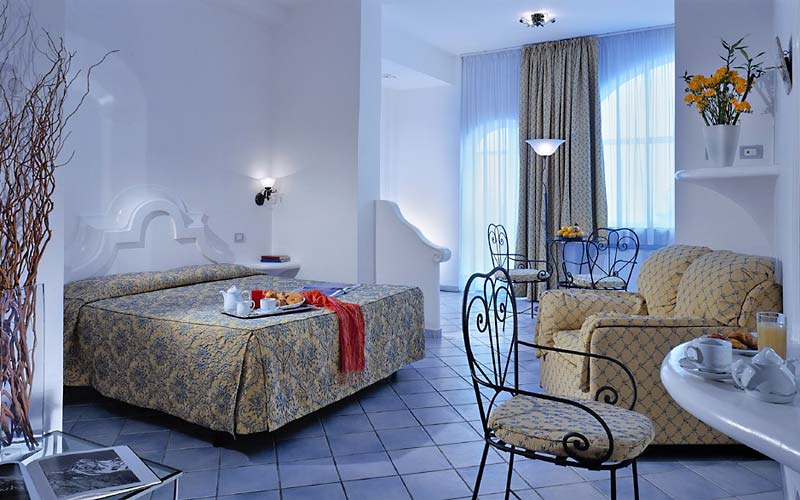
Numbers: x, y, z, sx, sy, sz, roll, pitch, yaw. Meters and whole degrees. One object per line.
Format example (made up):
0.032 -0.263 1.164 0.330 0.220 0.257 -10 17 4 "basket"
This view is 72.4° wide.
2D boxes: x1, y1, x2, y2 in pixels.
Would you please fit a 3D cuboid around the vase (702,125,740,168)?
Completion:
2.324 -0.714 3.817 0.217 0.240 0.217 -5 -11 -32 "vase"

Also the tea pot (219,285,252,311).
-1.122 0.346 3.882 0.269 0.242 0.190 4 -4 -33 "tea pot"

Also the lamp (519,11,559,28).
1.620 -2.692 6.402 0.410 0.103 0.485 10 15 42 "lamp"

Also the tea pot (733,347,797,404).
1.379 0.468 2.049 0.224 0.160 0.160 -4 6 5 "tea pot"

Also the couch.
1.636 0.472 3.800 1.215 1.270 1.492 1 -2 2 "couch"

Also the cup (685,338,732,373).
1.270 0.435 2.256 0.158 0.113 0.119 -2 3 12 "cup"

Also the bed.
-1.324 0.367 3.830 1.498 0.882 1.545 2 5 31 "bed"

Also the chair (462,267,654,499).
0.912 0.606 3.876 0.907 1.432 2.948 1 11 7 "chair"

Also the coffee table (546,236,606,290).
2.198 0.214 6.859 0.671 0.742 0.663 -4 9 -13 "coffee table"

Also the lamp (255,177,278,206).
-1.424 -0.609 5.752 0.203 0.289 0.119 6 4 -7 "lamp"

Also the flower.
2.426 -1.263 4.047 0.539 0.688 0.898 7 14 34 "flower"

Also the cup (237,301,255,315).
-1.046 0.390 3.653 0.102 0.087 0.100 0 11 0 "cup"

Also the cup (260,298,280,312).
-0.893 0.385 3.749 0.102 0.075 0.077 3 -6 -37 "cup"
